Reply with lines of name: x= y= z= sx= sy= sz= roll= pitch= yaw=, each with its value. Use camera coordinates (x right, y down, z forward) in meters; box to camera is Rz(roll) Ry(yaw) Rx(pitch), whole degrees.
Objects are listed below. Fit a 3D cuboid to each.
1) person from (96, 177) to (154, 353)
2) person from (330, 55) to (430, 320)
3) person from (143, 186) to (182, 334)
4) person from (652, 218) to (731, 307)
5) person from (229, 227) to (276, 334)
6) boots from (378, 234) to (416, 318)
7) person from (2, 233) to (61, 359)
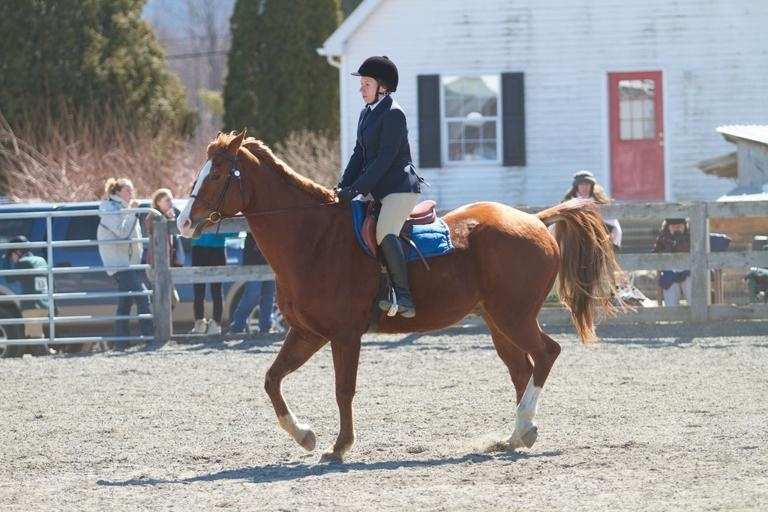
person: x=-5.166 y=0.147 z=37.416 sx=1.005 sy=3.267 sz=1.185 roll=2 pitch=-1 yaw=-19
person: x=0.004 y=-1.161 z=32.924 sx=1.286 sy=4.611 sz=0.703 roll=-3 pitch=2 yaw=3
person: x=-4.419 y=-0.097 z=37.552 sx=0.605 sy=2.468 sz=0.756 roll=1 pitch=-2 yaw=16
person: x=6.125 y=0.140 z=38.228 sx=1.276 sy=1.758 sz=0.757 roll=-3 pitch=2 yaw=7
person: x=-2.601 y=0.568 z=37.611 sx=0.816 sy=2.164 sz=0.820 roll=0 pitch=-2 yaw=7
boots: x=0.240 y=0.395 z=32.779 sx=0.568 sy=1.490 sz=0.305 roll=-3 pitch=2 yaw=-2
person: x=-6.993 y=0.826 z=37.358 sx=0.884 sy=1.734 sz=0.506 roll=-3 pitch=2 yaw=6
